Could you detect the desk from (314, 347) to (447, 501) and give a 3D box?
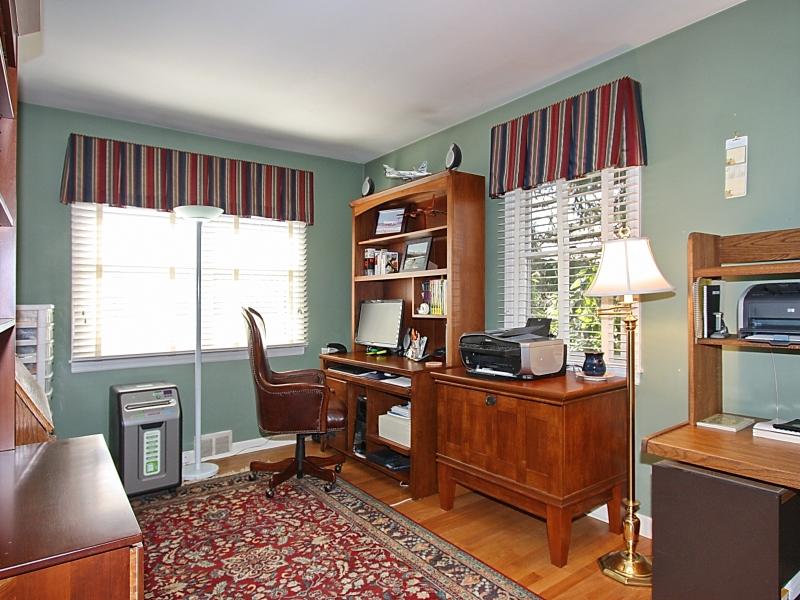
[{"bbox_3d":[-0.260,1.017,4.764,1.385,0.852,0.493,-4,-15,42],"label":"desk"}]

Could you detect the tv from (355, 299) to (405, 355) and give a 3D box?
[{"bbox_3d":[-0.211,0.192,5.121,0.065,0.413,0.625,13,4,36],"label":"tv"}]

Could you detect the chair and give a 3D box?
[{"bbox_3d":[-0.784,0.768,4.579,0.842,1.252,0.769,1,1,-2],"label":"chair"}]

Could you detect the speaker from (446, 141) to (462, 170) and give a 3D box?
[{"bbox_3d":[0.412,-1.094,4.522,0.103,0.203,0.275,0,10,4],"label":"speaker"}]

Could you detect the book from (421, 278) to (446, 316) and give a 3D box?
[{"bbox_3d":[0.273,-0.023,4.650,0.088,0.252,0.247,1,17,-12],"label":"book"}]

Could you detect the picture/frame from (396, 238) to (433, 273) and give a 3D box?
[{"bbox_3d":[0.130,-0.372,4.924,0.032,0.304,0.319,20,-18,-30],"label":"picture/frame"}]

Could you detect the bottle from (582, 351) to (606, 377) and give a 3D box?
[{"bbox_3d":[1.198,0.397,3.641,0.153,0.147,0.150,-3,-5,28],"label":"bottle"}]

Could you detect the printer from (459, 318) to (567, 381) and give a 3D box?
[{"bbox_3d":[0.751,0.316,3.937,0.537,0.362,0.578,-2,2,-37],"label":"printer"}]

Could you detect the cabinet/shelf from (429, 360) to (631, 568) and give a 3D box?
[{"bbox_3d":[0.863,0.966,3.917,0.911,0.927,1.107,0,3,-33],"label":"cabinet/shelf"}]

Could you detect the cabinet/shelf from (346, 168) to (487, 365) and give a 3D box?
[{"bbox_3d":[0.161,-0.254,4.842,0.550,1.922,1.772,3,-3,-34],"label":"cabinet/shelf"}]
